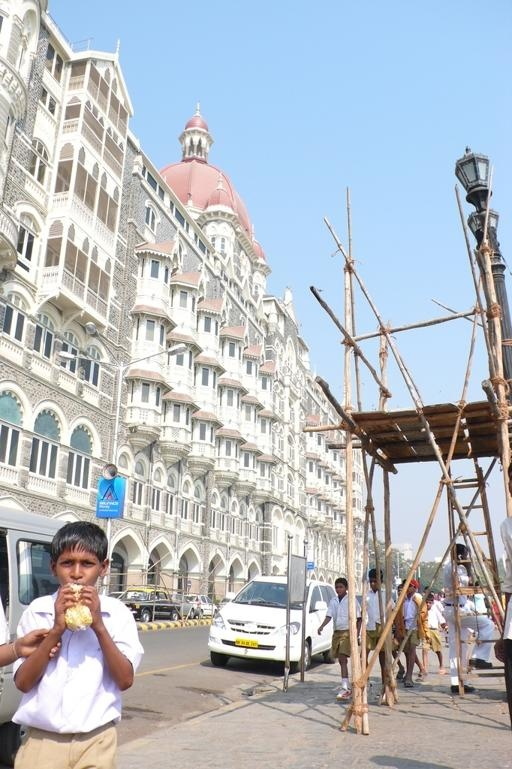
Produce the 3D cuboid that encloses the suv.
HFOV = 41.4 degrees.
[{"bbox_3d":[0.484,4.852,13.789,1.544,1.278,2.926,-6,-31,17],"label":"suv"}]

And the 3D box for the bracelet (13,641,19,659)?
[{"bbox_3d":[-0.766,0.840,2.149,0.010,0.040,0.039,-2,11,-9],"label":"bracelet"}]
